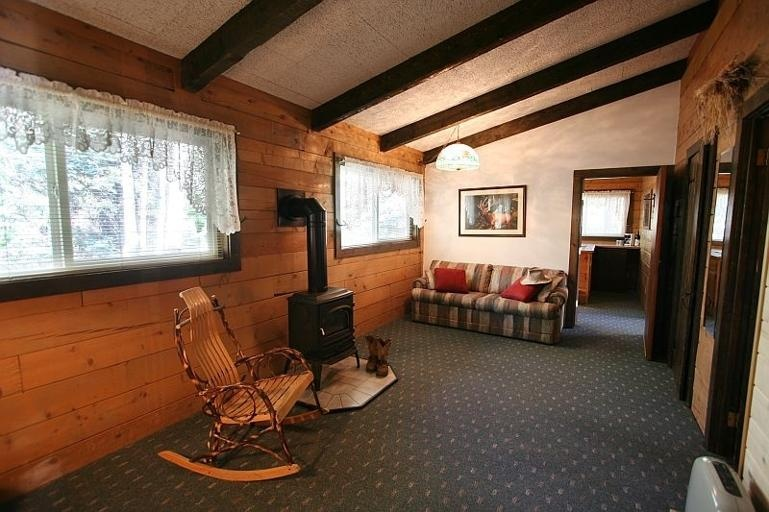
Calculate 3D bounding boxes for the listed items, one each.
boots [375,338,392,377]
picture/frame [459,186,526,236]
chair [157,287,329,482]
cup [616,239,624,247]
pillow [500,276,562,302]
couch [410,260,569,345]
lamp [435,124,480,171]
[{"bbox_3d":[-0.041,1.114,5.155,0.191,0.369,0.402,7,8,2],"label":"boots"},{"bbox_3d":[1.630,-0.679,7.053,0.816,0.542,0.032,3,10,31],"label":"picture/frame"},{"bbox_3d":[-1.232,1.064,4.147,1.378,1.375,0.991,4,13,4],"label":"chair"},{"bbox_3d":[4.611,-0.251,9.335,0.195,0.169,0.185,0,1,0],"label":"cup"},{"bbox_3d":[1.895,0.424,6.172,0.763,0.255,0.439,1,11,12],"label":"pillow"},{"bbox_3d":[1.412,0.559,6.621,1.990,0.812,0.845,5,10,28],"label":"couch"},{"bbox_3d":[0.913,-1.406,6.078,0.541,0.554,0.541,5,7,32],"label":"lamp"}]
